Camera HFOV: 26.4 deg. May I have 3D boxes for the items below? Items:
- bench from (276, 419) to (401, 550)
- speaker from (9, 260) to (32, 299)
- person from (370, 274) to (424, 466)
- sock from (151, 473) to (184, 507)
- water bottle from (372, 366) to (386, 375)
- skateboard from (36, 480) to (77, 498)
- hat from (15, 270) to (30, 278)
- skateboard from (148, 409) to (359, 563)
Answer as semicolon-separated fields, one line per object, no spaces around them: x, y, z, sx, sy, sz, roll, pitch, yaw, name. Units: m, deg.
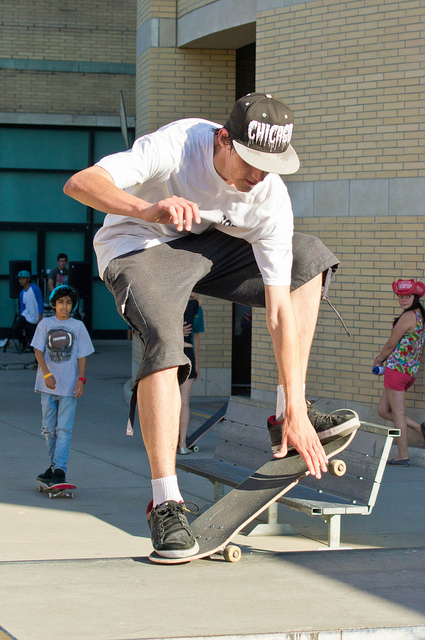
0.590;1.004;5.478;0.573;0.665;1.315;0;-5;-16;bench
-3.980;-0.857;18.628;0.405;0.869;1.114;3;-5;-12;speaker
1.642;0.412;8.003;0.455;1.694;0.665;1;-5;9;person
-0.180;0.660;3.489;0.110;0.139;0.184;2;-5;-3;sock
1.471;0.445;8.053;0.089;0.064;0.124;-20;-7;30;water bottle
-1.142;1.234;6.612;0.273;0.100;0.220;3;-5;-9;skateboard
-3.593;-0.879;17.295;0.256;0.120;0.168;11;-4;-35;hat
0.254;0.858;4.602;1.482;0.193;0.353;-33;16;-23;skateboard
